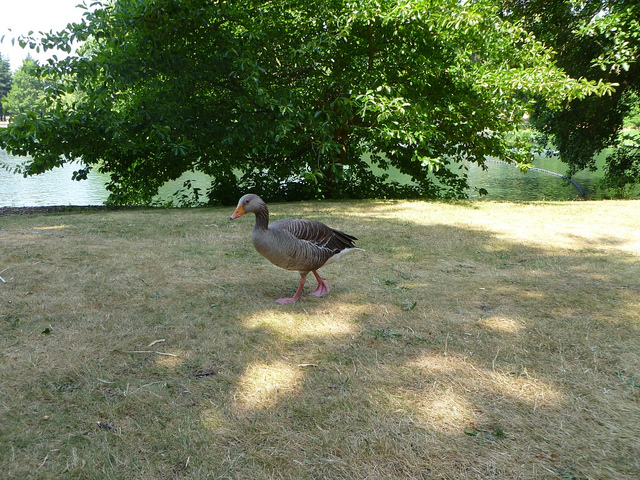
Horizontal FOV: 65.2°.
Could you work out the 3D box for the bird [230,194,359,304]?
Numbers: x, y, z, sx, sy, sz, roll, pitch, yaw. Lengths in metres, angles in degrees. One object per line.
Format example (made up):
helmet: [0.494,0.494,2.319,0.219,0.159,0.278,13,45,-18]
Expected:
bird: [-0.333,0.091,6.123,1.277,1.271,0.703,-4,7,-32]
